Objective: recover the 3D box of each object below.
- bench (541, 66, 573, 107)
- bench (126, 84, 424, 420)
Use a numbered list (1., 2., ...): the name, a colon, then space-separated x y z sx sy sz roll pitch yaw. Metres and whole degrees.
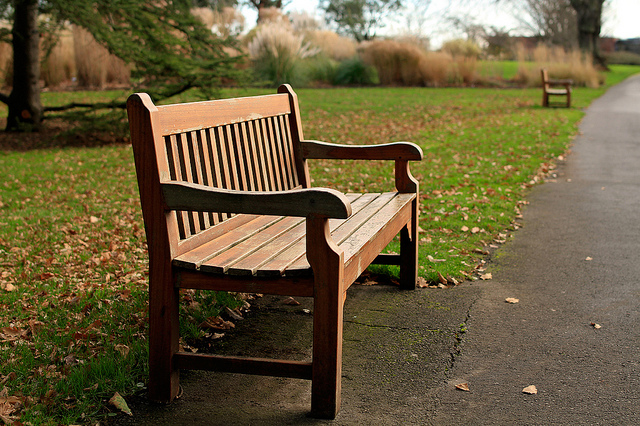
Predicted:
1. bench: 7.052 -3.683 18.197 0.885 1.121 0.932 3 17 27
2. bench: -0.253 0.032 5.759 2.064 2.428 3.012 0 11 6
